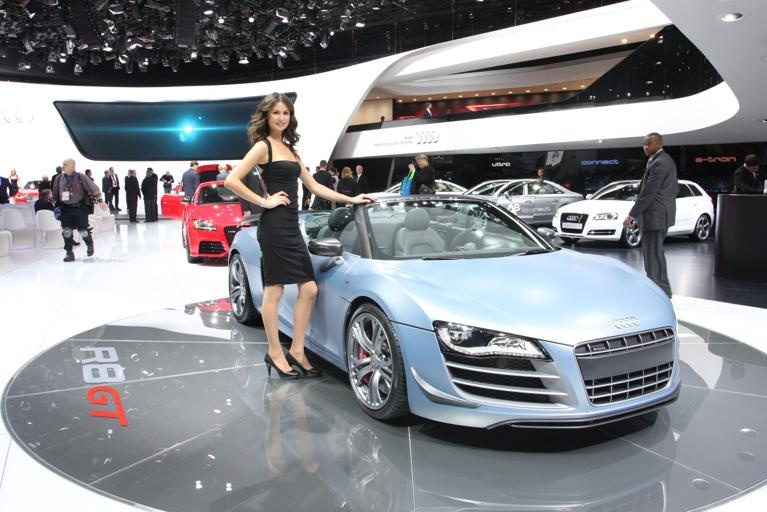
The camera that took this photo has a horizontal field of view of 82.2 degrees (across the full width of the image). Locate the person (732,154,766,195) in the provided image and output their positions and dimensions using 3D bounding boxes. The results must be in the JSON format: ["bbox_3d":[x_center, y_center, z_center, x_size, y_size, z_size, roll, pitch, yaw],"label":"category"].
[{"bbox_3d":[6.976,-1.567,8.363,0.413,0.715,0.969,8,14,37],"label":"person"}]

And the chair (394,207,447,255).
[{"bbox_3d":[0.349,-0.257,3.807,0.382,0.490,0.410,-4,16,-20],"label":"chair"}]

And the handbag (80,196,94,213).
[{"bbox_3d":[-6.415,-1.124,9.573,0.227,0.293,0.265,3,-3,-40],"label":"handbag"}]

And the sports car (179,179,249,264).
[{"bbox_3d":[-3.495,-0.769,8.849,1.406,1.103,2.644,0,4,-16],"label":"sports car"}]

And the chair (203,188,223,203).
[{"bbox_3d":[-3.792,-1.326,9.610,0.289,0.215,0.468,-3,14,-16],"label":"chair"}]

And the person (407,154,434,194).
[{"bbox_3d":[0.845,-1.702,9.947,0.603,1.148,0.506,3,25,0],"label":"person"}]

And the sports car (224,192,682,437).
[{"bbox_3d":[0.217,0.415,3.711,1.706,0.979,3.078,-3,5,-32],"label":"sports car"}]
